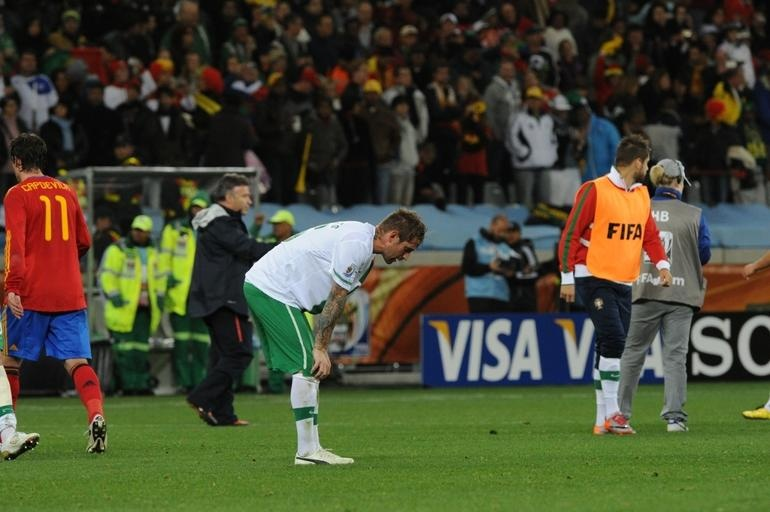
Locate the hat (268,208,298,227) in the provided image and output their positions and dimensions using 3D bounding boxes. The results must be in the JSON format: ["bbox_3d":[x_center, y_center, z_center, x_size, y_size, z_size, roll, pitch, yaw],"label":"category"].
[{"bbox_3d":[-1.556,-0.606,20.530,0.406,0.214,0.285,3,-6,-11],"label":"hat"}]

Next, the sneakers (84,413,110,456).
[{"bbox_3d":[-3.401,2.064,15.808,0.203,0.510,0.244,0,21,-24],"label":"sneakers"}]

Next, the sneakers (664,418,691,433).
[{"bbox_3d":[3.667,2.097,16.750,0.264,0.181,0.150,-8,12,-16],"label":"sneakers"}]

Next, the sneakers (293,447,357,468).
[{"bbox_3d":[-0.708,2.258,15.229,0.665,0.209,0.241,0,-1,-4],"label":"sneakers"}]

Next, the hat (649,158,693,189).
[{"bbox_3d":[3.697,-1.057,17.219,0.467,0.273,0.340,-4,12,-26],"label":"hat"}]

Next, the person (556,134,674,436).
[{"bbox_3d":[2.857,0.343,16.661,1.326,3.696,0.555,0,-2,4],"label":"person"}]

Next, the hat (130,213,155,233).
[{"bbox_3d":[-3.964,-0.530,21.989,0.251,0.191,0.362,23,-5,-8],"label":"hat"}]
